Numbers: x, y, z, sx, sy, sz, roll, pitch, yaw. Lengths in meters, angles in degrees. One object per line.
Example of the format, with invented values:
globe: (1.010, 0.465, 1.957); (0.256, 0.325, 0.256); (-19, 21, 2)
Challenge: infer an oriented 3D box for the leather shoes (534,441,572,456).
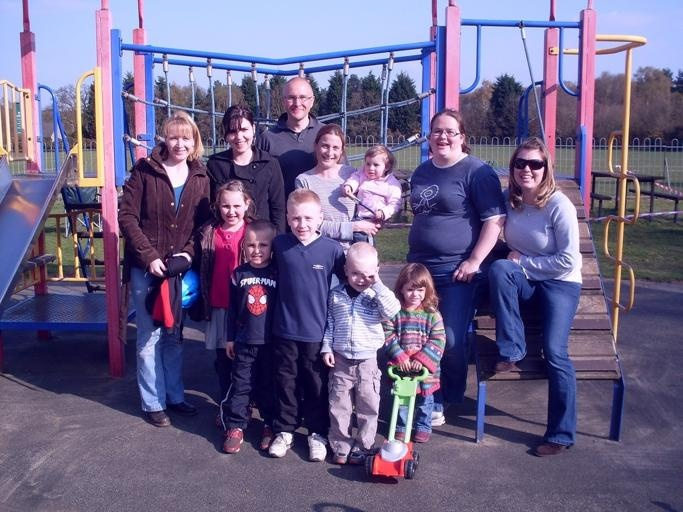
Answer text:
leather shoes: (1.509, 1.398, 4.691); (0.241, 0.118, 0.109); (-4, 4, -9)

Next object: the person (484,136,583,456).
person: (1.433, 0.265, 4.879); (0.644, 2.281, 0.644); (2, 7, 21)

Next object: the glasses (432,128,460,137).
glasses: (0.780, -0.926, 4.907); (0.202, 0.063, 0.050); (0, 7, 9)

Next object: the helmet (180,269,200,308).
helmet: (-1.166, 0.249, 5.089); (0.169, 0.262, 0.087); (10, -4, 17)

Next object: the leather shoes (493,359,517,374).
leather shoes: (1.205, 0.834, 4.828); (0.178, 0.083, 0.071); (2, -7, -24)

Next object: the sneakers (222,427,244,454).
sneakers: (-0.788, 1.360, 4.786); (0.120, 0.155, 0.119); (-1, 7, 2)

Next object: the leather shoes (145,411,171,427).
leather shoes: (-1.427, 1.279, 5.148); (0.084, 0.106, 0.224); (-1, -2, -44)

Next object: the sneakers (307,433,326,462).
sneakers: (-0.165, 1.380, 4.691); (0.134, 0.164, 0.148); (-1, 7, -2)

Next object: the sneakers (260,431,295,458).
sneakers: (-0.449, 1.371, 4.750); (0.216, 0.152, 0.159); (-2, 7, -8)

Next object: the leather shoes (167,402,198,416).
leather shoes: (-1.262, 1.228, 5.267); (0.207, 0.103, 0.103); (-1, -1, 4)
